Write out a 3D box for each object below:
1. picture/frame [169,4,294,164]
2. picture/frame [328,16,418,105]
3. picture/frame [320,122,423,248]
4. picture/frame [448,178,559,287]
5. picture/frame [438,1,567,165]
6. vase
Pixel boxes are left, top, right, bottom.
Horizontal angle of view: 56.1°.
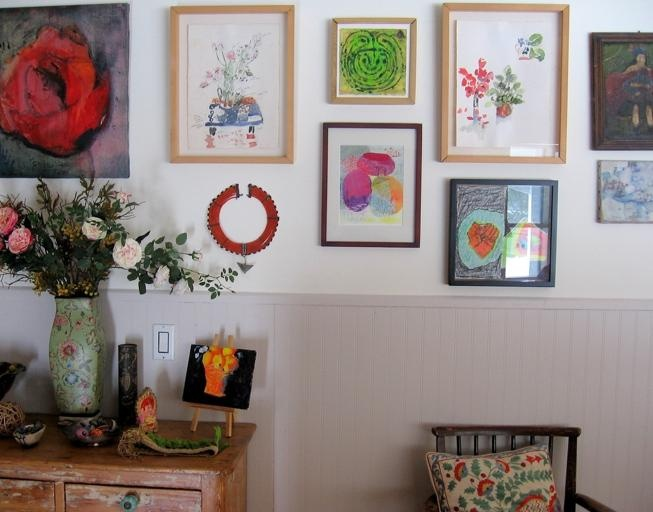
[{"bbox_3d":[-0.398,-0.790,2.710,0.622,0.864,0.038,0,3,4],"label":"picture/frame"},{"bbox_3d":[0.217,-0.873,2.691,0.333,0.366,0.027,1,2,0],"label":"picture/frame"},{"bbox_3d":[0.214,-0.335,2.714,0.473,0.653,0.040,2,1,1],"label":"picture/frame"},{"bbox_3d":[0.785,-0.116,2.699,0.414,0.472,0.020,0,3,2],"label":"picture/frame"},{"bbox_3d":[0.780,-0.787,2.679,0.617,0.822,0.036,0,1,-1],"label":"picture/frame"},{"bbox_3d":[-1.074,0.423,2.630,0.247,0.505,0.124,3,3,-7],"label":"vase"}]
